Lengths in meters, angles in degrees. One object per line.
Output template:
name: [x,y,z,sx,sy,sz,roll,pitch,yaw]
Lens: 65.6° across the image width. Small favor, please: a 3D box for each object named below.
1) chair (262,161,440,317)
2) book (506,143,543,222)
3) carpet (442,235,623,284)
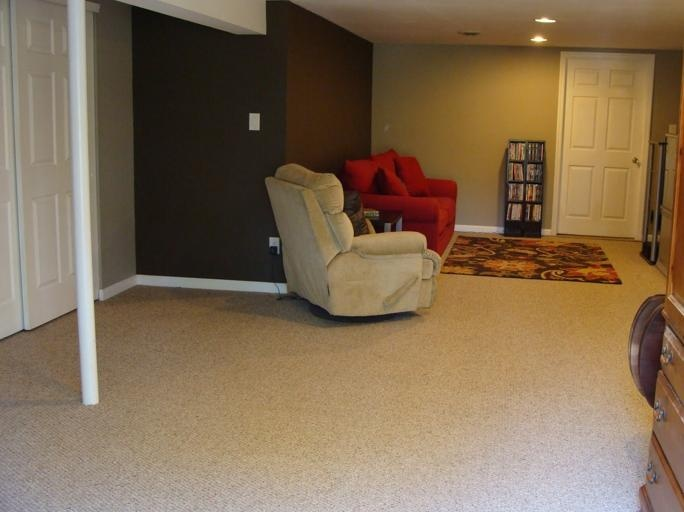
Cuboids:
chair: [0.070,-0.306,4.856,1.288,1.203,1.309,-3,15,-10]
book: [2.691,-1.089,7.824,0.519,1.177,0.138,3,12,12]
carpet: [2.376,-0.006,6.835,1.989,0.022,2.274,5,16,14]
